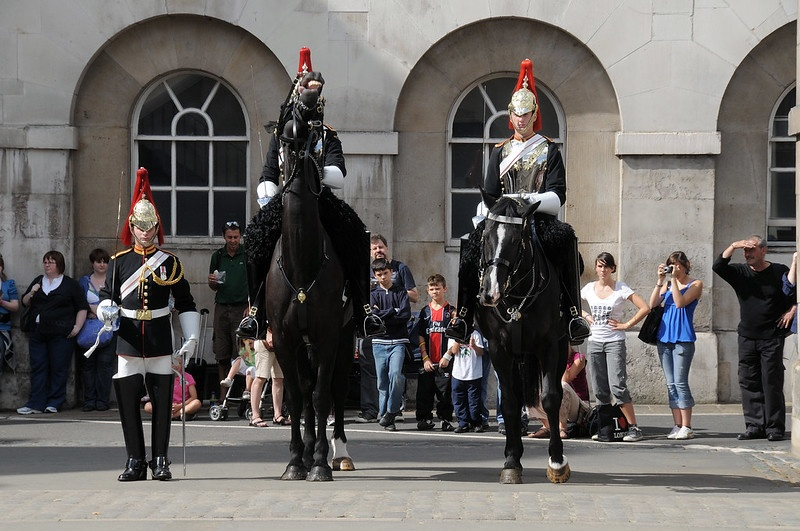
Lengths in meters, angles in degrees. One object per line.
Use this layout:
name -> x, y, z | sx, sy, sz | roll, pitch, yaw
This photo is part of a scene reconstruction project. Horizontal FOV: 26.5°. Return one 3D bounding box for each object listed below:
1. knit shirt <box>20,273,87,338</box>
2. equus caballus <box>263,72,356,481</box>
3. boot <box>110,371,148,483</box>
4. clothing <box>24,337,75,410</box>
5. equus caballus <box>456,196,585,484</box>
knit shirt -> -5.406, 0.627, 26.781 | 0.987, 0.912, 0.397 | -1, 9, -11
equus caballus -> -1.095, 0.138, 21.813 | 0.872, 5.173, 1.097 | 8, 12, 41
boot -> -3.439, 2.070, 21.819 | 0.402, 1.341, 0.404 | -1, 9, -9
clothing -> -5.484, 1.674, 26.730 | 0.728, 1.182, 0.283 | -1, 9, -10
equus caballus -> 1.581, 0.933, 21.865 | 1.334, 3.649, 1.136 | -2, 9, -13
